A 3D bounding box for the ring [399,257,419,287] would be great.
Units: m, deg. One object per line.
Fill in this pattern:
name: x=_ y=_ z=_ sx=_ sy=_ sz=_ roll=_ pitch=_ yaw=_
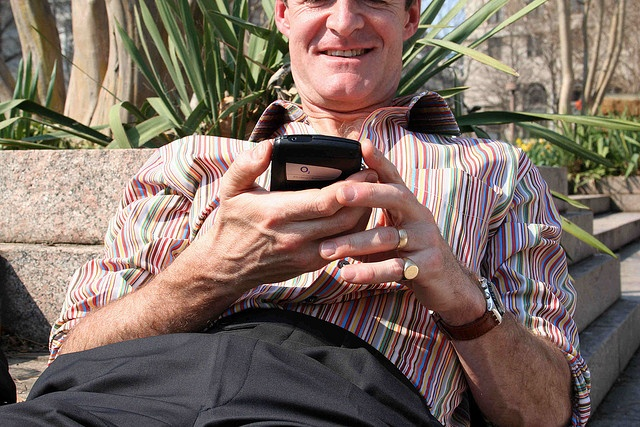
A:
ring: x=0.329 y=0.222 z=2.313 sx=0.053 sy=0.030 sz=0.080 roll=1 pitch=39 yaw=-13
